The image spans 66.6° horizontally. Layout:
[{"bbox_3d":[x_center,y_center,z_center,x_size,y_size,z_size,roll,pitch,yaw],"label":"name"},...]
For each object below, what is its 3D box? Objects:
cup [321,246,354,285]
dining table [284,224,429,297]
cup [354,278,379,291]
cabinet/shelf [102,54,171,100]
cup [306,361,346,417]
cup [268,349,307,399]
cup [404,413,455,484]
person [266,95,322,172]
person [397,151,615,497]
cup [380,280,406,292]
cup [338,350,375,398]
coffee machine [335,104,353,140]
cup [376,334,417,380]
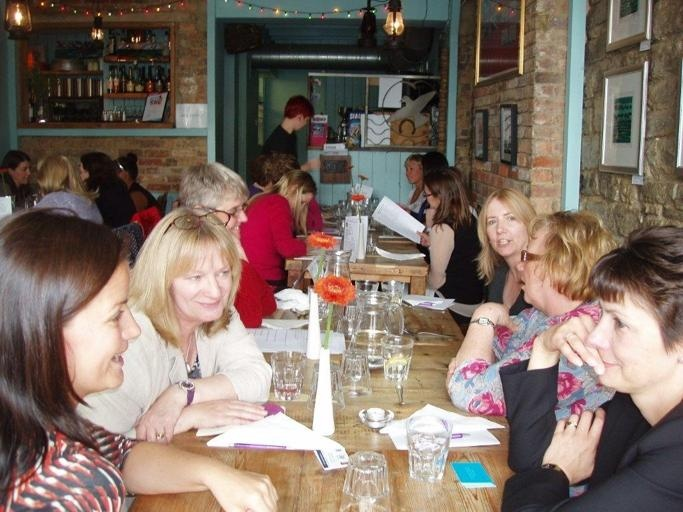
[{"bbox_3d":[-0.022,0.040,2.330,0.126,0.186,0.128,3,7,0],"label":"cup"},{"bbox_3d":[0.265,-0.042,3.742,0.549,0.570,0.572,0,6,-3],"label":"dining table"},{"bbox_3d":[0.129,0.144,2.539,0.070,0.062,0.080,1,-6,9],"label":"cup"},{"bbox_3d":[-2.722,-2.369,6.830,1.070,0.516,0.213,4,6,18],"label":"cabinet/shelf"},{"bbox_3d":[-0.068,0.393,1.599,0.127,0.181,0.126,2,1,0],"label":"cup"},{"bbox_3d":[-0.167,0.389,1.736,0.129,0.153,0.137,0,-2,0],"label":"cup"},{"bbox_3d":[0.214,0.466,1.275,0.106,0.130,0.116,1,6,0],"label":"cup"},{"bbox_3d":[-0.486,-1.210,5.378,0.568,0.865,0.512,6,20,-7],"label":"person"},{"bbox_3d":[0.603,0.209,2.210,0.756,1.443,0.639,4,-2,9],"label":"person"},{"bbox_3d":[0.244,0.149,2.600,0.089,0.071,0.084,-1,1,0],"label":"cup"},{"bbox_3d":[0.050,0.382,1.745,0.125,0.146,0.124,0,6,0],"label":"cup"},{"bbox_3d":[0.039,-1.772,6.995,0.182,0.499,0.386,1,6,0],"label":"coffee machine"},{"bbox_3d":[0.192,0.348,1.836,0.128,0.156,0.133,0,8,0],"label":"cup"}]
